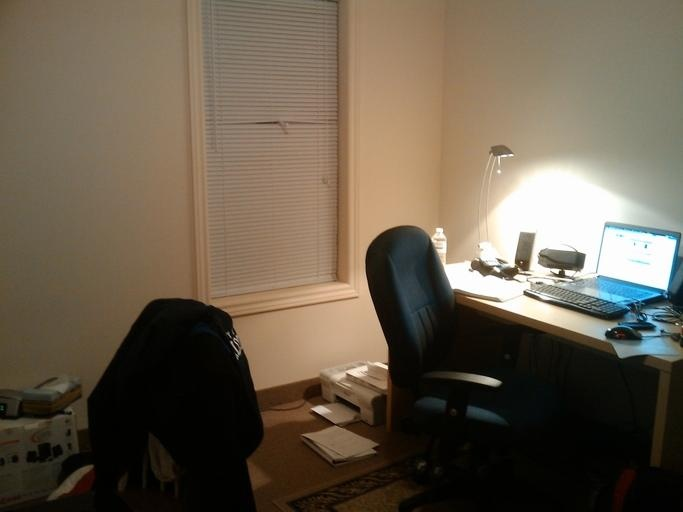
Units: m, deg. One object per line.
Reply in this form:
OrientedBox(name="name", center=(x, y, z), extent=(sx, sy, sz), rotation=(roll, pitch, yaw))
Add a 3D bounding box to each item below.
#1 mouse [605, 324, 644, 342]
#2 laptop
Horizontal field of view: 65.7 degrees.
OrientedBox(name="mouse", center=(1.127, 0.299, 2.097), extent=(0.108, 0.038, 0.065), rotation=(-3, 10, 2))
OrientedBox(name="laptop", center=(1.317, 0.064, 2.525), extent=(0.385, 0.337, 0.457), rotation=(-9, 18, -24))
